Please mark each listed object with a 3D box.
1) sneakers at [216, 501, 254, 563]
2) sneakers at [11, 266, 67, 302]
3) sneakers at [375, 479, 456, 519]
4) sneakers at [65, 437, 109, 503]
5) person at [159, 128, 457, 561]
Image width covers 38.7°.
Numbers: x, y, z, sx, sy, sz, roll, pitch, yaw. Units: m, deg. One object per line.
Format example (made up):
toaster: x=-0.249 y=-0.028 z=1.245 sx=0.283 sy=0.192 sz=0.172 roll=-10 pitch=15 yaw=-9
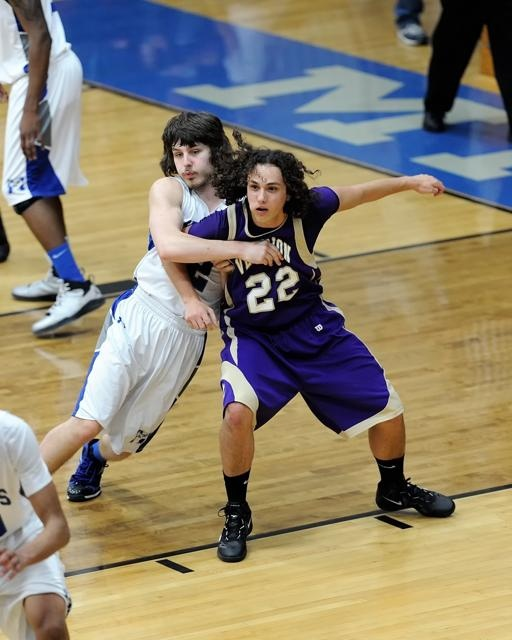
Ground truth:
sneakers: x=-0.040 y=0.504 z=1.722 sx=0.059 sy=0.064 sz=0.152 roll=1 pitch=21 yaw=5
sneakers: x=-0.971 y=-0.164 z=3.546 sx=0.409 sy=0.148 sz=0.119 roll=1 pitch=18 yaw=-2
sneakers: x=0.408 y=0.456 z=1.928 sx=0.249 sy=0.085 sz=0.080 roll=4 pitch=19 yaw=14
sneakers: x=-0.456 y=0.437 z=2.070 sx=0.088 sy=0.129 sz=0.238 roll=6 pitch=7 yaw=12
person: x=0.162 y=0.058 z=1.811 sx=0.599 sy=0.957 sz=0.737 roll=-5 pitch=32 yaw=-4
